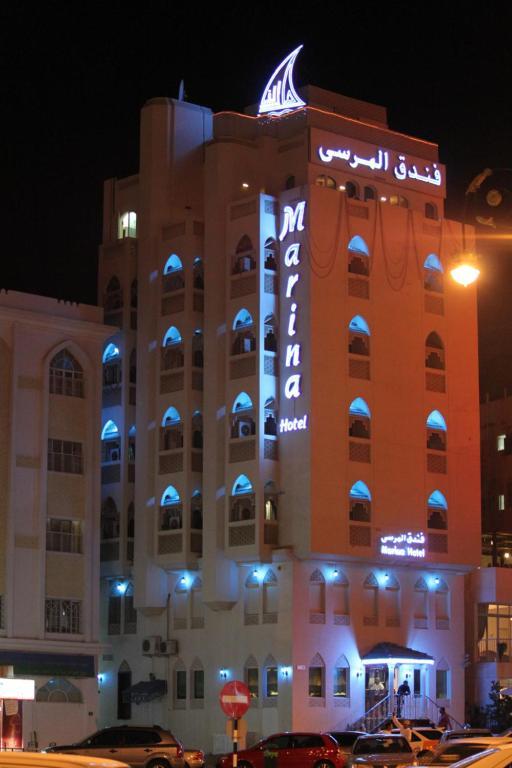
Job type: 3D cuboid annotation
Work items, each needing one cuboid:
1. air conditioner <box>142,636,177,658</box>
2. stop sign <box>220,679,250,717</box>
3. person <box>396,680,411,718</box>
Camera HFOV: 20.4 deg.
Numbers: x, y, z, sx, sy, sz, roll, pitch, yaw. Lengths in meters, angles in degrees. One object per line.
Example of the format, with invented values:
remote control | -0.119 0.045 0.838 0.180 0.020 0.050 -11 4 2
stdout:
air conditioner | -3.882 10.574 57.168 0.455 0.909 2.068 11 -22 -39
stop sign | -0.397 6.037 27.136 0.504 0.798 0.970 -1 -17 -2
person | 5.658 11.947 54.129 0.365 1.504 1.616 -6 -17 21
